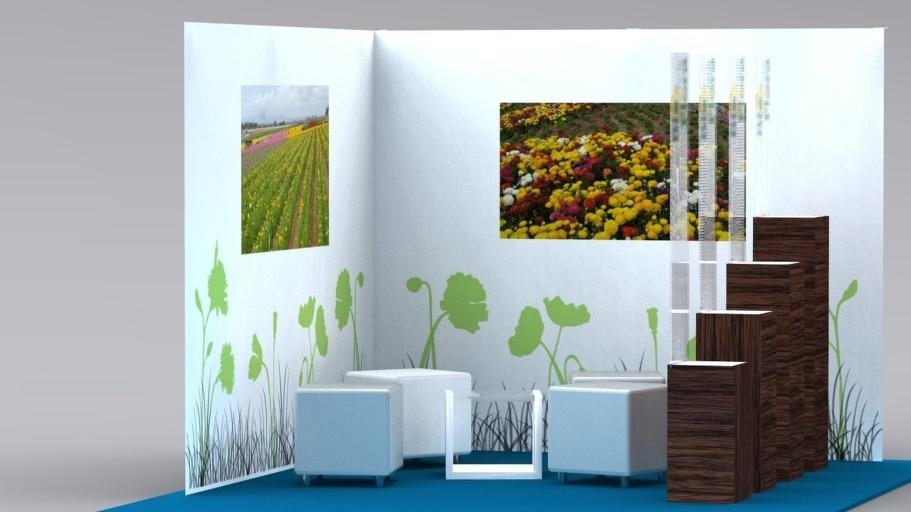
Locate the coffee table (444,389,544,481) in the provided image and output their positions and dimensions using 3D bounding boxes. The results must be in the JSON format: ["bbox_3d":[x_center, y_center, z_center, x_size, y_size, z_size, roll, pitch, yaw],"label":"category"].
[{"bbox_3d":[0.461,1.990,8.832,1.161,1.082,1.268,1,-10,4],"label":"coffee table"}]
